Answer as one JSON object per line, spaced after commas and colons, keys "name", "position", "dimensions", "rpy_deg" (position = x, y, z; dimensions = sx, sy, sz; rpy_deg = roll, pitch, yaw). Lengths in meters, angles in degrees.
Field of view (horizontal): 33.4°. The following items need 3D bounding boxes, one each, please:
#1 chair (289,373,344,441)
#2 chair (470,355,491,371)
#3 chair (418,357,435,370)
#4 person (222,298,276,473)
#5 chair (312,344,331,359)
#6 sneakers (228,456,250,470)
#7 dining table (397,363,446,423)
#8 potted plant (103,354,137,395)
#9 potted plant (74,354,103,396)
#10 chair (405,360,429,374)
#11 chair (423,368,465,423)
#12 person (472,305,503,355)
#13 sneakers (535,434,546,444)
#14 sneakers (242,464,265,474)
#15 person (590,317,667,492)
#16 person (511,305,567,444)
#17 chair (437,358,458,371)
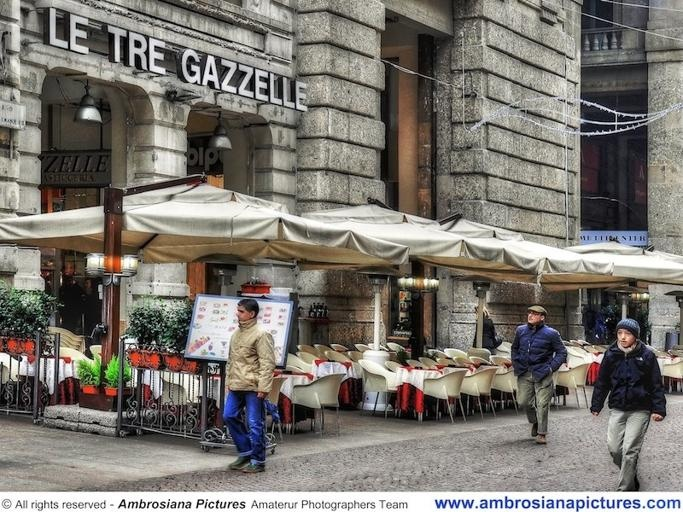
{"name": "chair", "position": [-0.347, 2.208, 17.172], "dimensions": [0.927, 1.054, 0.921], "rpy_deg": [0, -2, 37]}
{"name": "chair", "position": [2.527, 1.907, 20.499], "dimensions": [0.262, 0.210, 0.237], "rpy_deg": [-4, -2, -1]}
{"name": "chair", "position": [1.477, 1.838, 19.566], "dimensions": [0.168, 0.159, 0.157], "rpy_deg": [-6, 8, 13]}
{"name": "person", "position": [-1.134, 1.613, 14.331], "dimensions": [0.708, 2.177, 0.361], "rpy_deg": [-5, -6, 38]}
{"name": "chair", "position": [-0.334, 1.717, 20.798], "dimensions": [0.234, 0.226, 0.184], "rpy_deg": [-2, 2, -3]}
{"name": "sneakers", "position": [-1.275, 2.607, 14.360], "dimensions": [0.309, 0.126, 0.121], "rpy_deg": [1, 4, -17]}
{"name": "dining table", "position": [1.347, 2.248, 18.559], "dimensions": [0.907, 0.768, 0.846], "rpy_deg": [2, -8, -10]}
{"name": "potted plant", "position": [-3.103, 1.679, 16.147], "dimensions": [0.488, 0.465, 0.440], "rpy_deg": [4, -9, -44]}
{"name": "potted plant", "position": [-3.623, 1.707, 16.300], "dimensions": [0.267, 0.528, 0.465], "rpy_deg": [2, -5, -28]}
{"name": "chair", "position": [1.237, 1.833, 19.114], "dimensions": [0.194, 0.224, 0.184], "rpy_deg": [3, -8, -29]}
{"name": "chair", "position": [1.709, 2.275, 18.597], "dimensions": [0.684, 0.882, 1.110], "rpy_deg": [-1, -4, 5]}
{"name": "person", "position": [3.145, 1.576, 24.230], "dimensions": [0.482, 0.976, 1.819], "rpy_deg": [-1, -4, 8]}
{"name": "sneakers", "position": [2.940, 2.684, 16.677], "dimensions": [0.104, 0.116, 0.293], "rpy_deg": [-1, -9, 13]}
{"name": "sneakers", "position": [-1.092, 2.645, 14.184], "dimensions": [0.270, 0.111, 0.109], "rpy_deg": [4, 1, -4]}
{"name": "person", "position": [3.470, 1.786, 13.727], "dimensions": [0.893, 2.046, 0.541], "rpy_deg": [-3, -5, 26]}
{"name": "person", "position": [2.964, 1.749, 16.977], "dimensions": [0.672, 2.026, 0.816], "rpy_deg": [0, -5, -13]}
{"name": "chair", "position": [1.846, 1.871, 19.746], "dimensions": [0.160, 0.180, 0.168], "rpy_deg": [2, -12, -16]}
